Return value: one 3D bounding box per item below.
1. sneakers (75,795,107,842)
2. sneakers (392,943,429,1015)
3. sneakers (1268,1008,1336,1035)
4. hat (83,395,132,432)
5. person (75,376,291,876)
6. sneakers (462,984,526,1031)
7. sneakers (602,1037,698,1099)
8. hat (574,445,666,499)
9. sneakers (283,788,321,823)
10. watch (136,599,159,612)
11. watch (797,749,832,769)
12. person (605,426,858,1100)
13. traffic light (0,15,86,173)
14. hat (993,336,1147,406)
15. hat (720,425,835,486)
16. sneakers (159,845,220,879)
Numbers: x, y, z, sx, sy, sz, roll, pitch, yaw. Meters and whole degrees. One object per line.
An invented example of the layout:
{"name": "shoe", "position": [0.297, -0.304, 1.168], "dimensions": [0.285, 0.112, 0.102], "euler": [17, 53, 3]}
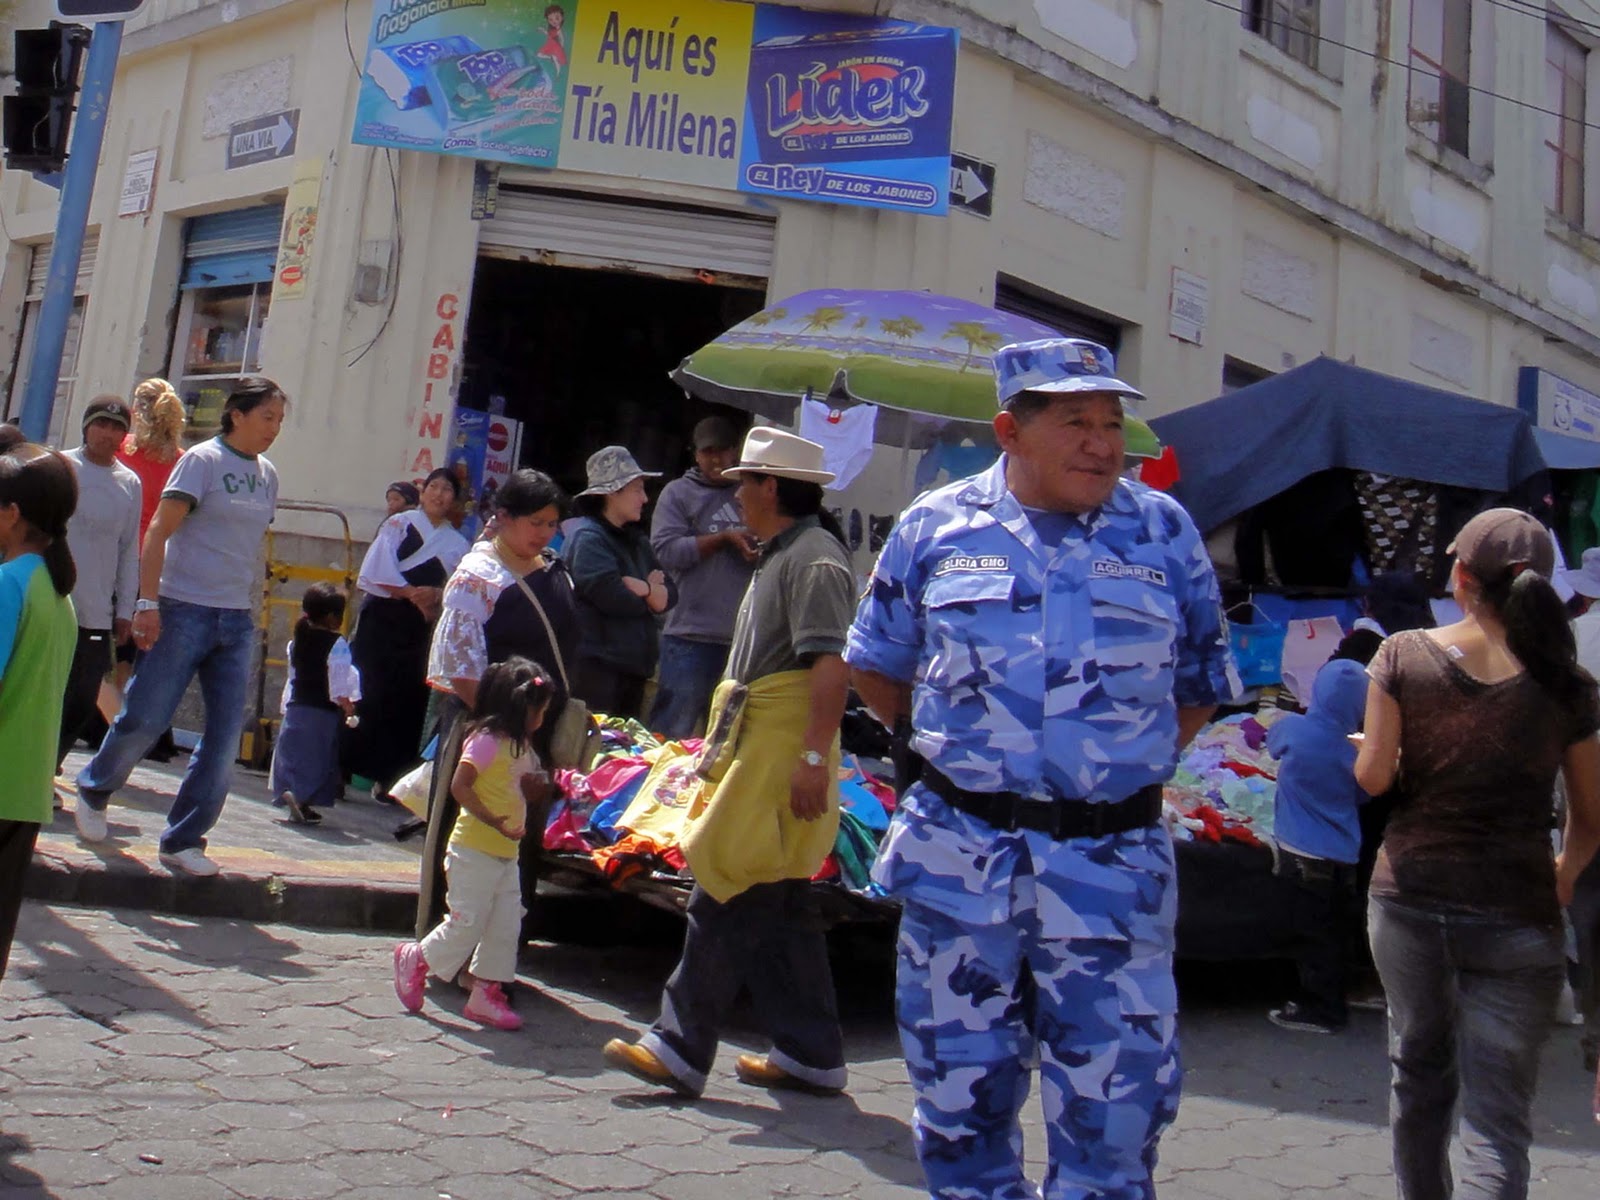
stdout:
{"name": "sneakers", "position": [-3.337, 1.027, 7.153], "dimensions": [0.279, 0.117, 0.103], "euler": [12, -5, 39]}
{"name": "sneakers", "position": [-1.545, 1.487, 6.056], "dimensions": [0.126, 0.258, 0.183], "euler": [7, 2, -13]}
{"name": "sneakers", "position": [2.322, 1.948, 7.053], "dimensions": [0.195, 0.070, 0.116], "euler": [9, 7, 40]}
{"name": "hat", "position": [-3.447, -0.931, 7.571], "dimensions": [0.183, 0.134, 0.257], "euler": [7, -16, -26]}
{"name": "person", "position": [-2.869, 0.065, 7.066], "dimensions": [0.683, 2.009, 0.685], "euler": [7, 1, -21]}
{"name": "sneakers", "position": [-1.142, 1.595, 5.956], "dimensions": [0.318, 0.209, 0.114], "euler": [5, -11, -3]}
{"name": "sneakers", "position": [-0.545, 1.653, 5.456], "dimensions": [0.430, 0.185, 0.115], "euler": [9, 2, 34]}
{"name": "hat", "position": [-0.936, -0.672, 8.117], "dimensions": [0.382, 0.156, 0.372], "euler": [-24, 8, -18]}
{"name": "sneakers", "position": [-2.850, 1.168, 8.682], "dimensions": [0.075, 0.172, 0.067], "euler": [-38, 15, -35]}
{"name": "watch", "position": [-2.964, 0.026, 6.917], "dimensions": [0.053, 0.052, 0.050], "euler": [1, -6, -5]}
{"name": "watch", "position": [0.058, 0.554, 5.377], "dimensions": [0.079, 0.050, 0.078], "euler": [26, 9, -2]}
{"name": "person", "position": [-0.126, 0.584, 5.537], "dimensions": [0.694, 2.296, 0.603], "euler": [9, 2, 36]}
{"name": "traffic light", "position": [-4.816, -3.210, 9.675], "dimensions": [0.454, 0.819, 0.404], "euler": [7, 2, -10]}
{"name": "hat", "position": [0.673, -0.584, 3.918], "dimensions": [0.272, 0.103, 0.205], "euler": [0, -1, 40]}
{"name": "hat", "position": [-0.088, -0.517, 5.603], "dimensions": [0.281, 0.107, 0.249], "euler": [5, -6, 27]}
{"name": "sneakers", "position": [-2.752, 1.180, 6.865], "dimensions": [0.290, 0.123, 0.114], "euler": [1, 13, -10]}
